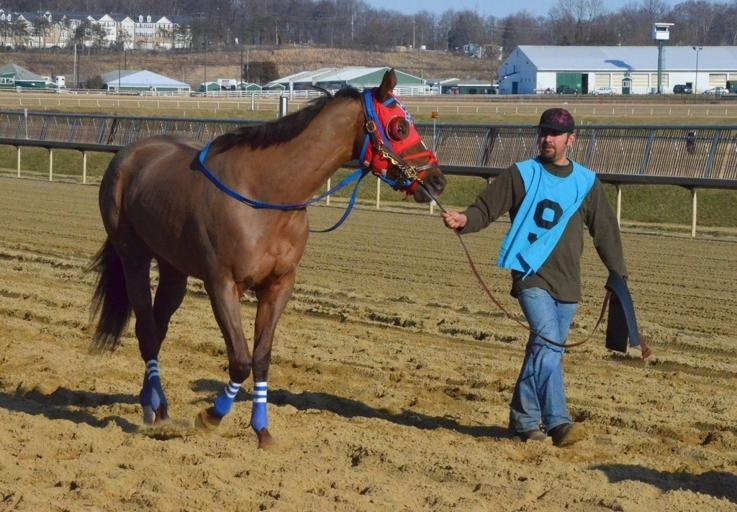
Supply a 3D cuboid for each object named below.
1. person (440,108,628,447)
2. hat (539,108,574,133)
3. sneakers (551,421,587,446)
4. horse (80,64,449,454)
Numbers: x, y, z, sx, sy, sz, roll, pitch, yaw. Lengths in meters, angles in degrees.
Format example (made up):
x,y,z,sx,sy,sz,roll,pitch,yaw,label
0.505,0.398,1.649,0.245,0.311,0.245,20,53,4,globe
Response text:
x,y,z,sx,sy,sz,roll,pitch,yaw,label
1.419,0.183,7.330,1.312,2.661,0.760,3,12,10,person
1.543,-1.108,7.286,0.167,0.159,0.254,8,-3,32,hat
1.580,1.404,7.152,0.131,0.160,0.300,-8,-8,-33,sneakers
-1.220,0.057,7.437,3.270,3.353,0.906,5,3,33,horse
